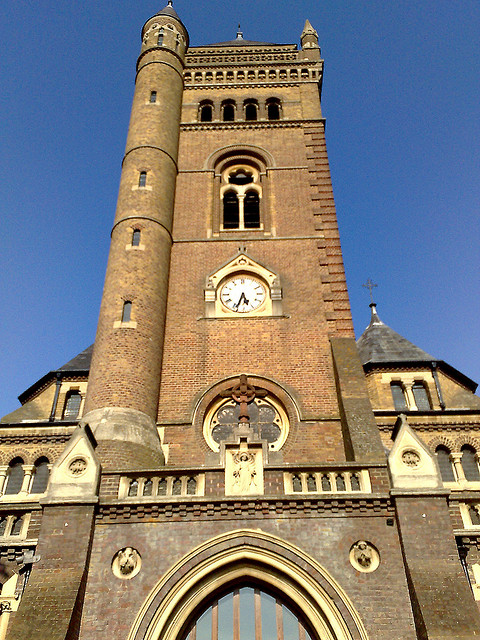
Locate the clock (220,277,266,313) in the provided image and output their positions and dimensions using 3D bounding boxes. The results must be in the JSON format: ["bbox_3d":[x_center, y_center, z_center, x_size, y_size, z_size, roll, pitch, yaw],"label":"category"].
[{"bbox_3d":[0.105,-0.866,19.310,1.874,1.781,0.116,-1,-48,1],"label":"clock"}]
